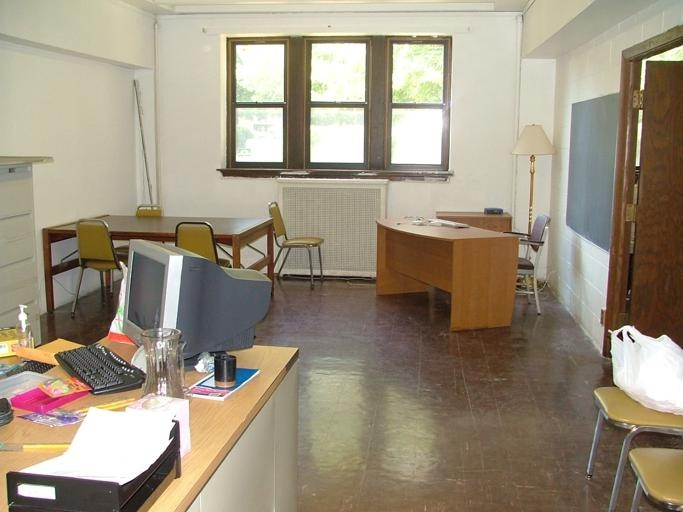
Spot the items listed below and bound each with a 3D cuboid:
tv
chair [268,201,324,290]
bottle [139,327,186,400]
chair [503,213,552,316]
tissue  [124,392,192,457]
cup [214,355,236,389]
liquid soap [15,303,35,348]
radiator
[{"bbox_3d":[-0.614,0.184,2.276,0.503,0.420,0.515,-1,5,-41],"label":"tv"},{"bbox_3d":[-0.554,-0.177,6.840,0.668,1.056,0.917,-1,12,-3],"label":"chair"},{"bbox_3d":[-0.583,0.374,1.726,0.133,0.214,0.137,1,-3,0],"label":"bottle"},{"bbox_3d":[1.951,0.101,5.840,0.555,0.993,0.574,5,1,10],"label":"chair"},{"bbox_3d":[-0.527,0.513,1.546,0.163,0.206,0.178,-1,12,-4],"label":"tissue "},{"bbox_3d":[-0.433,0.447,2.037,0.096,0.118,0.100,2,3,0],"label":"cup"},{"bbox_3d":[-1.382,0.327,2.306,0.048,0.174,0.047,-7,11,-42],"label":"liquid soap"},{"bbox_3d":[-0.077,-0.392,6.988,1.232,1.259,0.220,1,12,3],"label":"radiator"}]
